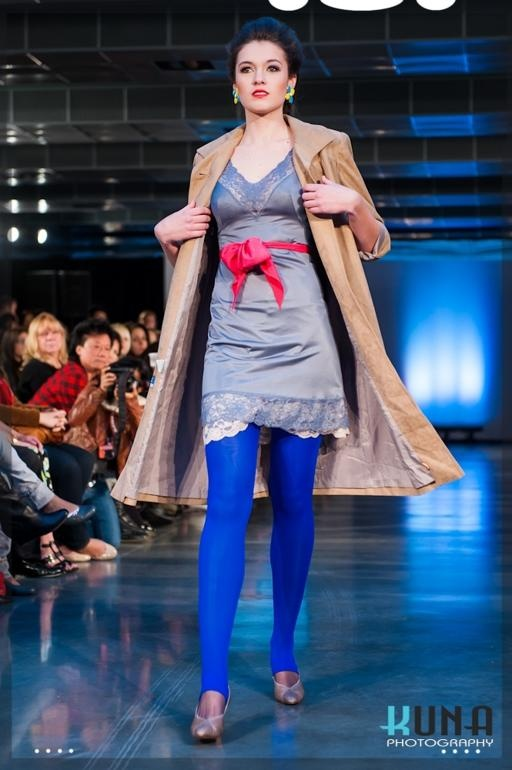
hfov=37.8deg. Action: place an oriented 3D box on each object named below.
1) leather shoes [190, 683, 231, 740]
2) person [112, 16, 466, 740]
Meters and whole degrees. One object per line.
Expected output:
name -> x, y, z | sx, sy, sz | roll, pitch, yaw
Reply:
leather shoes -> -0.085, 0.587, 1.357 | 0.061, 0.083, 0.121 | 2, -7, -4
person -> 0.052, 0.019, 1.645 | 0.656, 1.288, 0.427 | 4, -8, -21
